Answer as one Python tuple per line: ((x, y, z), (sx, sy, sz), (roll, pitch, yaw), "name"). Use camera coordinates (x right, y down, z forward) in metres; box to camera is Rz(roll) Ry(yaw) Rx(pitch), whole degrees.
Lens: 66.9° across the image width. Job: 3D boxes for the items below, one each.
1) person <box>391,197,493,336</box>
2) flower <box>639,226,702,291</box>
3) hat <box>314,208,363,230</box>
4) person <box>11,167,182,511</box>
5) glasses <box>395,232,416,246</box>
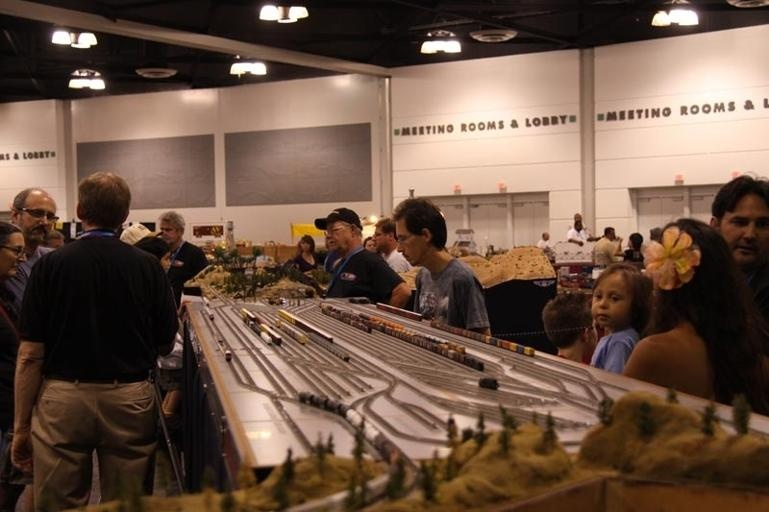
((0.356, 0.041, 3.732), (0.361, 0.832, 0.742), (-5, 6, -37), "person")
((1.131, -0.003, 2.316), (0.247, 0.229, 0.064), (24, 16, -19), "flower")
((-0.420, -0.332, 5.158), (0.343, 0.178, 0.220), (1, -4, -12), "hat")
((-1.540, 0.436, 3.043), (0.851, 1.743, 0.417), (-3, 5, -20), "person")
((0.129, -0.106, 3.783), (0.077, 0.123, 0.098), (0, -2, -24), "glasses")
